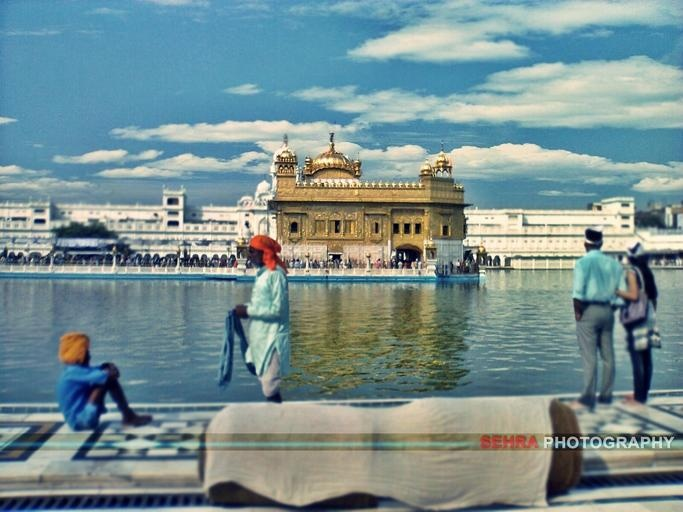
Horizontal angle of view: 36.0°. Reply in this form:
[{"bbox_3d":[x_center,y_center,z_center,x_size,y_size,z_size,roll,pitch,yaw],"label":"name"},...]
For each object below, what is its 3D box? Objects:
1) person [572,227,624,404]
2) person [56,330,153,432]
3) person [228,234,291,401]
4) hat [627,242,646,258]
[{"bbox_3d":[2.849,0.657,11.759,0.504,1.925,0.779,0,1,20],"label":"person"},{"bbox_3d":[-2.466,1.445,11.680,1.374,1.353,0.695,2,-5,-20],"label":"person"},{"bbox_3d":[-0.885,0.696,11.724,0.552,1.847,0.415,0,0,11],"label":"person"},{"bbox_3d":[3.518,-0.075,12.551,0.180,0.167,0.173,-5,11,-15],"label":"hat"}]
